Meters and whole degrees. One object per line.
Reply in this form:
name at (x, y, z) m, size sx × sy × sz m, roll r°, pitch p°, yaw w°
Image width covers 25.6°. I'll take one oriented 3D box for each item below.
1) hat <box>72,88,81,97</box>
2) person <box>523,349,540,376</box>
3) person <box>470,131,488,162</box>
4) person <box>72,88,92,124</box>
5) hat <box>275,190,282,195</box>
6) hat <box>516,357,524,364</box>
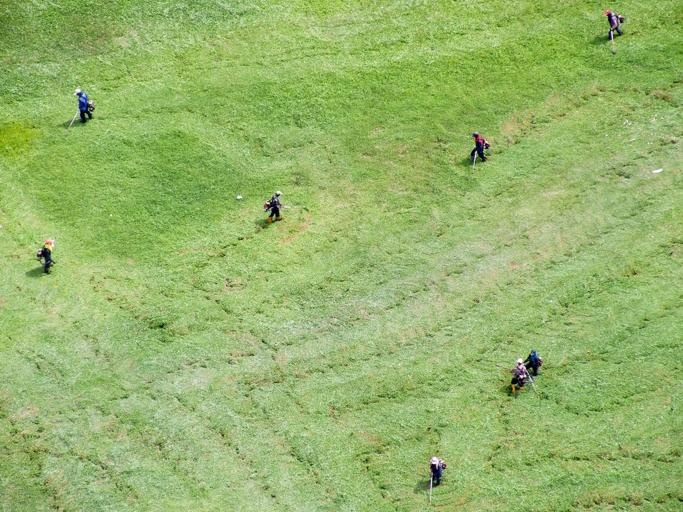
hat at (-19.462, -11.884, 110.388) m, size 0.538 × 0.335 × 0.682 m, roll 3°, pitch 9°, yaw 1°
person at (12.583, 7.116, 99.241) m, size 1.156 × 1.909 × 0.763 m, roll 15°, pitch 63°, yaw 30°
person at (10.069, -7.840, 110.029) m, size 1.231 × 2.027 × 1.011 m, roll 4°, pitch 51°, yaw 16°
person at (-19.315, -10.876, 111.384) m, size 0.936 × 2.464 × 1.107 m, roll 22°, pitch 53°, yaw 2°
hat at (-4.507, -4.453, 107.627) m, size 0.360 × 0.216 × 0.459 m, roll -3°, pitch 3°, yaw 4°
hat at (11.779, 6.898, 98.904) m, size 0.370 × 0.177 × 0.523 m, roll -1°, pitch 2°, yaw -12°
